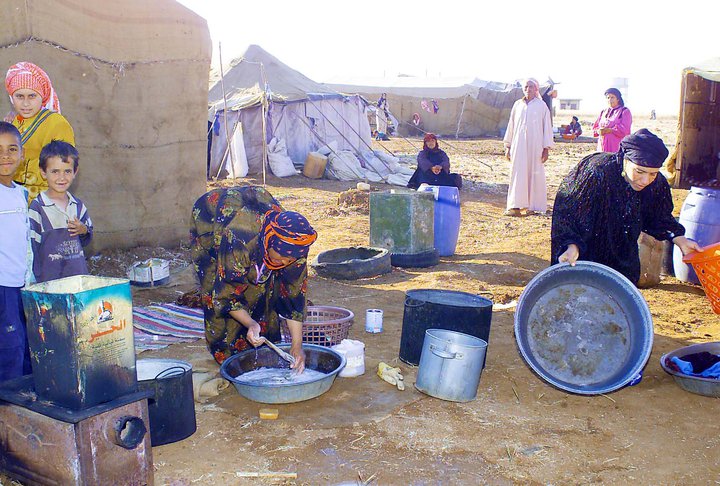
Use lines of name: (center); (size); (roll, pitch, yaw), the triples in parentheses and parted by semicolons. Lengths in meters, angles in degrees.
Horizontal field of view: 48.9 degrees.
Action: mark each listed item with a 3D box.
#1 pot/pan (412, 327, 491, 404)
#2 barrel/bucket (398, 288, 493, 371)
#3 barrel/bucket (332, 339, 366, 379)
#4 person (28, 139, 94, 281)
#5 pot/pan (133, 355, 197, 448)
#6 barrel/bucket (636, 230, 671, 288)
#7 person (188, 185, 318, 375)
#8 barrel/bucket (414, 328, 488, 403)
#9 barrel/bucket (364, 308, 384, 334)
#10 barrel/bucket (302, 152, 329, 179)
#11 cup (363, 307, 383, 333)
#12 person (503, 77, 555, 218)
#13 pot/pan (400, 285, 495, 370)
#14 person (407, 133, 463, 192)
pot/pan: (0.653, 0.881, 5.859); (0.479, 0.414, 0.545); (19, 3, 23)
barrel/bucket: (0.656, 0.621, 6.190); (0.600, 0.488, 0.648); (3, 4, 0)
barrel/bucket: (-0.082, 0.862, 5.946); (0.248, 0.271, 0.259); (0, 5, 0)
person: (-2.158, -0.234, 5.663); (0.492, 0.972, 0.352); (-10, 14, -33)
pot/pan: (-1.296, 1.006, 5.313); (0.527, 0.520, 0.483); (2, 4, 40)
barrel/bucket: (2.802, 0.151, 7.629); (0.274, 0.486, 0.433); (7, 14, 32)
person: (-0.724, 0.281, 5.696); (1.092, 1.338, 0.573); (8, 16, 44)
barrel/bucket: (0.656, 0.883, 5.863); (0.480, 0.413, 0.545); (19, 1, 23)
barrel/bucket: (0.122, 0.669, 6.888); (0.180, 0.203, 0.181); (0, 16, 0)
barrel/bucket: (-0.846, -1.539, 15.762); (0.482, 0.499, 0.507); (14, 19, -5)
cup: (0.120, 0.671, 6.891); (0.181, 0.203, 0.181); (1, 15, 0)
person: (2.379, -1.300, 11.137); (0.596, 1.930, 0.738); (-6, 12, -15)
pot/pan: (0.642, 0.618, 6.151); (0.599, 0.464, 0.651); (4, 0, 4)
person: (1.048, -1.206, 11.762); (0.634, 0.804, 1.019); (0, 11, 14)
